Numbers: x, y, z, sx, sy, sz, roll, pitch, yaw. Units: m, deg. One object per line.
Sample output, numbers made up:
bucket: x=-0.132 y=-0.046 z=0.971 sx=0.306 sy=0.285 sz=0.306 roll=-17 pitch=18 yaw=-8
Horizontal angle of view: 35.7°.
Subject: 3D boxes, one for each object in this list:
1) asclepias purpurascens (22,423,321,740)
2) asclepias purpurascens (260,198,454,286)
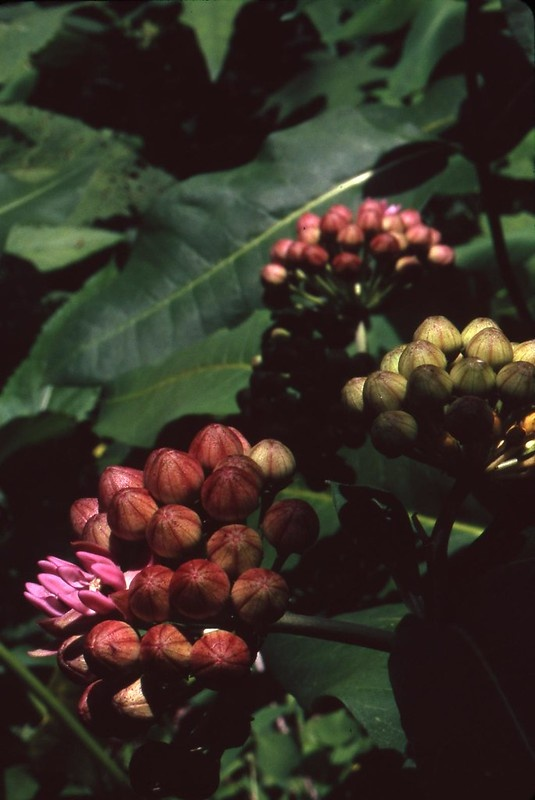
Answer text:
asclepias purpurascens: x=-0.093 y=0.174 z=0.776 sx=0.300 sy=0.125 sz=0.221 roll=-45 pitch=54 yaw=17
asclepias purpurascens: x=0.096 y=-0.178 z=0.931 sx=0.159 sy=0.050 sz=0.135 roll=-12 pitch=22 yaw=-18
